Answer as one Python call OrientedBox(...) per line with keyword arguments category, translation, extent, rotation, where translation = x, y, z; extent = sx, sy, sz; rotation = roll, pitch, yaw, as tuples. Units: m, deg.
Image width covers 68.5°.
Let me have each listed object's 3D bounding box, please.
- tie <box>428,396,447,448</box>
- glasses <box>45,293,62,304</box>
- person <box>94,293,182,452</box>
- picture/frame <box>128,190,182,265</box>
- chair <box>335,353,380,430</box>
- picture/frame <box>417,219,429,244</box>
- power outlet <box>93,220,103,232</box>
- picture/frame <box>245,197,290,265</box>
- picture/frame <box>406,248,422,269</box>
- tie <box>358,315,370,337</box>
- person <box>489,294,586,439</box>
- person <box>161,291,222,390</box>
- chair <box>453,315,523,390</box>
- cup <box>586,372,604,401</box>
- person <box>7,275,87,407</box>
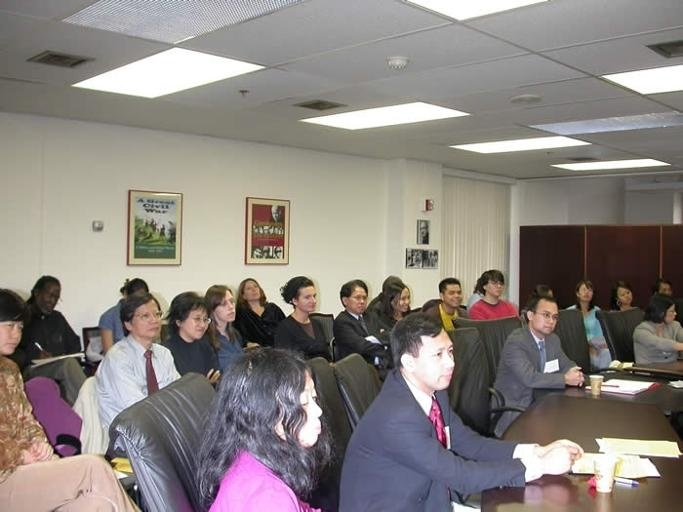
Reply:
OrientedBox(category="tie", translation=(0.482, 0.831, 2.507), extent=(0.050, 0.234, 0.127), rotation=(-9, -1, 31))
OrientedBox(category="glasses", translation=(-3.103, 0.475, 5.423), extent=(0.096, 0.112, 0.053), rotation=(11, 21, -27))
OrientedBox(category="person", translation=(-1.400, 0.922, 3.539), extent=(0.493, 1.214, 0.613), rotation=(4, 7, 18))
OrientedBox(category="picture/frame", translation=(-2.405, -0.366, 6.396), extent=(0.884, 1.318, 0.046), rotation=(1, -2, -42))
OrientedBox(category="chair", translation=(0.125, 0.793, 2.952), extent=(0.304, 0.429, 0.291), rotation=(-7, -7, 38))
OrientedBox(category="picture/frame", translation=(1.395, -0.430, 8.731), extent=(0.389, 0.564, 0.055), rotation=(-1, 3, -43))
OrientedBox(category="power outlet", translation=(-2.918, -0.368, 6.026), extent=(0.104, 0.114, 0.111), rotation=(4, 3, 19))
OrientedBox(category="picture/frame", translation=(-1.110, -0.375, 7.331), extent=(0.859, 1.247, 0.093), rotation=(4, -6, -40))
OrientedBox(category="picture/frame", translation=(1.224, 0.032, 8.598), extent=(0.262, 0.401, 0.013), rotation=(14, -13, -38))
OrientedBox(category="tie", translation=(0.262, 0.739, 5.384), extent=(0.051, 0.178, 0.125), rotation=(-9, 18, 20))
OrientedBox(category="person", translation=(1.519, 0.869, 3.893), extent=(0.562, 1.305, 0.723), rotation=(13, -23, -27))
OrientedBox(category="person", translation=(-1.175, 0.691, 4.010), extent=(0.387, 0.805, 0.453), rotation=(-5, -4, 30))
OrientedBox(category="chair", translation=(1.328, 0.876, 4.584), extent=(0.481, 0.739, 0.558), rotation=(2, -7, -28))
OrientedBox(category="cup", translation=(1.755, 0.916, 3.529), extent=(0.124, 0.155, 0.133), rotation=(1, -10, 0))
OrientedBox(category="person", translation=(-2.915, 1.003, 5.175), extent=(0.840, 1.536, 0.630), rotation=(-8, -8, 13))
